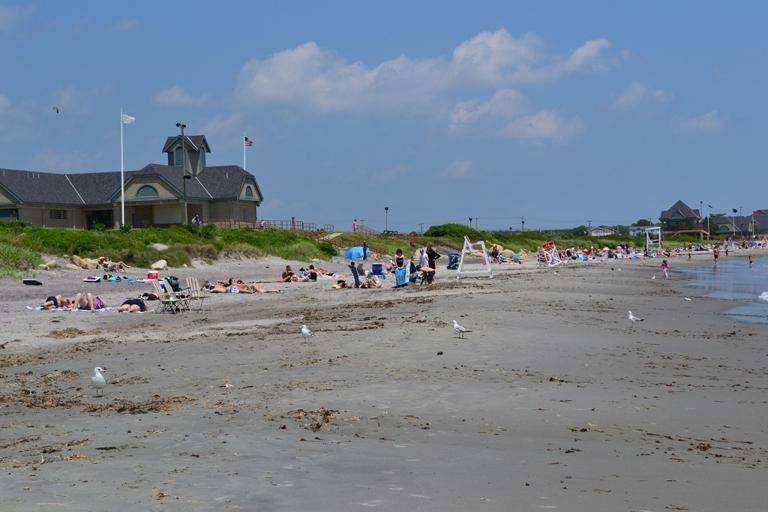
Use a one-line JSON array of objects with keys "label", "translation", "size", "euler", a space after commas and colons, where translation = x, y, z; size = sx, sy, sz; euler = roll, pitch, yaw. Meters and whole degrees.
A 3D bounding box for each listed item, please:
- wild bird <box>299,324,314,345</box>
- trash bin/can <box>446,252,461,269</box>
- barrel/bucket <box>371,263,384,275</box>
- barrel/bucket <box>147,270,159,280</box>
[{"label": "wild bird", "translation": [-1.793, 1.858, 23.725], "size": [0.277, 0.366, 0.583], "euler": [-8, 9, -23]}, {"label": "trash bin/can", "translation": [4.075, 0.323, 58.117], "size": [1.170, 1.012, 1.025], "euler": [2, 2, 4]}, {"label": "barrel/bucket", "translation": [-0.316, 0.602, 45.300], "size": [0.716, 0.511, 0.521], "euler": [0, -4, -4]}, {"label": "barrel/bucket", "translation": [-8.131, 0.673, 35.046], "size": [0.330, 0.333, 0.558], "euler": [-5, 0, 24]}]
